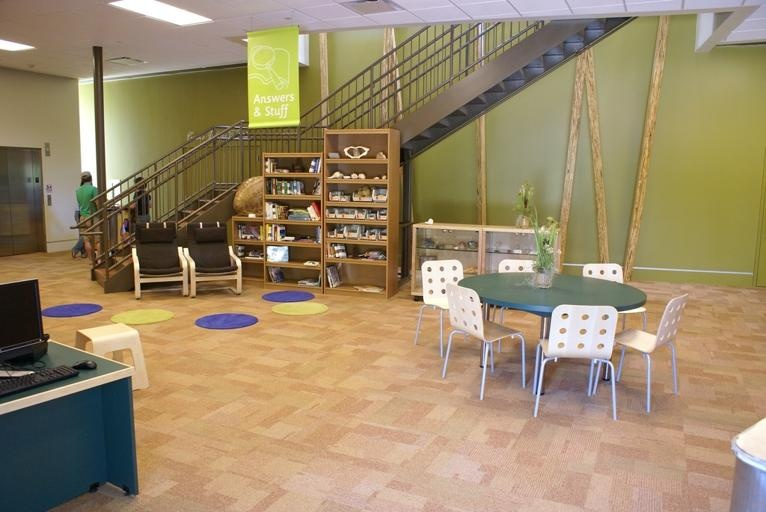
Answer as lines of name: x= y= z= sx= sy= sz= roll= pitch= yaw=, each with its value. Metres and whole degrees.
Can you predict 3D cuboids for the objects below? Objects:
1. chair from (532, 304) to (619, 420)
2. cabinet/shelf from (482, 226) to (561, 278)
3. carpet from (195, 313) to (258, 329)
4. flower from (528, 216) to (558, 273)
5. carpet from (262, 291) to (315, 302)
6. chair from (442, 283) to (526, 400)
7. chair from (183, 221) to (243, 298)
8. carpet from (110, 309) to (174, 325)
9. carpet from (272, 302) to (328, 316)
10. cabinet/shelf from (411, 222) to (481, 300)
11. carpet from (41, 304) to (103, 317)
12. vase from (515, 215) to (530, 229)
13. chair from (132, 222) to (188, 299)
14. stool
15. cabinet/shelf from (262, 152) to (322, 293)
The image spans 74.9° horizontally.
chair: x=1.959 y=1.005 z=5.119 sx=0.800 sy=1.190 sz=0.957 roll=2 pitch=8 yaw=24
cabinet/shelf: x=1.933 y=-0.072 z=7.053 sx=0.801 sy=0.710 sz=0.259 roll=2 pitch=9 yaw=9
carpet: x=-2.302 y=0.963 z=7.356 sx=0.896 sy=0.078 sz=0.728 roll=-2 pitch=6 yaw=-5
flower: x=1.863 y=-0.112 z=5.731 sx=0.262 sy=0.632 sz=0.759 roll=1 pitch=7 yaw=17
carpet: x=-1.654 y=0.707 z=8.721 sx=0.880 sy=0.070 sz=0.849 roll=-2 pitch=6 yaw=-6
chair: x=1.121 y=1.004 z=5.685 sx=0.914 sy=1.459 sz=0.908 roll=-10 pitch=14 yaw=-31
chair: x=-3.099 y=0.038 z=8.951 sx=0.927 sy=1.257 sz=0.775 roll=-4 pitch=8 yaw=-21
carpet: x=-3.607 y=0.916 z=7.492 sx=0.896 sy=0.079 sz=0.806 roll=3 pitch=8 yaw=38
carpet: x=-1.324 y=0.847 z=7.984 sx=0.856 sy=0.080 sz=0.724 roll=-2 pitch=6 yaw=-7
cabinet/shelf: x=0.962 y=0.052 z=7.589 sx=1.326 sy=1.250 sz=0.496 roll=3 pitch=10 yaw=16
carpet: x=-4.814 y=0.846 z=7.752 sx=0.774 sy=0.079 sz=0.851 roll=-6 pitch=8 yaw=-36
vase: x=2.362 y=-0.583 z=8.571 sx=0.253 sy=0.303 sz=0.244 roll=0 pitch=-1 yaw=3
chair: x=-3.896 y=0.063 z=8.731 sx=0.870 sy=1.265 sz=0.786 roll=-5 pitch=8 yaw=-23
stool: x=-2.530 y=0.961 z=4.673 sx=0.613 sy=0.552 sz=0.616 roll=-7 pitch=10 yaw=-43
cabinet/shelf: x=-1.610 y=-0.665 z=9.259 sx=1.245 sy=2.472 sz=0.553 roll=1 pitch=8 yaw=17
